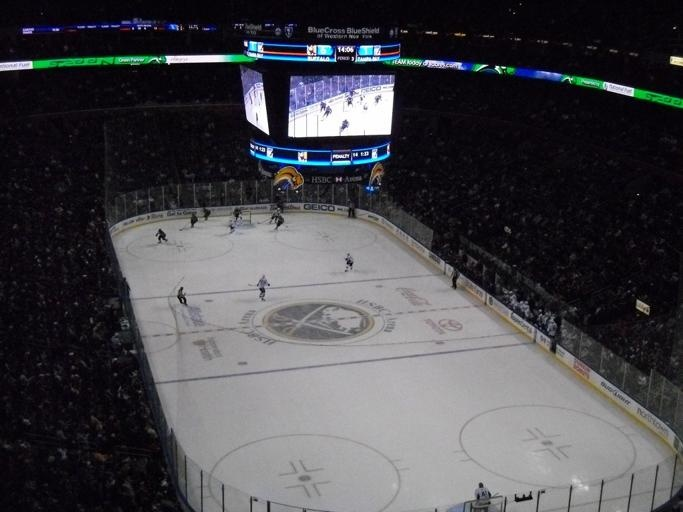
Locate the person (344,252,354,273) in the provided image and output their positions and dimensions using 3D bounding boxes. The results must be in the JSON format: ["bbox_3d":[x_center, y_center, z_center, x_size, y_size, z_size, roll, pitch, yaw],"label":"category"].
[{"bbox_3d":[0.554,0.277,37.609,0.489,1.125,1.141,1,31,0],"label":"person"}]

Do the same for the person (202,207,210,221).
[{"bbox_3d":[-9.883,-3.241,46.252,0.518,0.918,1.304,-5,32,-10],"label":"person"}]

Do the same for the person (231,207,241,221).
[{"bbox_3d":[-7.377,-3.051,44.650,0.661,0.846,1.342,-1,12,-8],"label":"person"}]

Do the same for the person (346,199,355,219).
[{"bbox_3d":[0.855,-3.607,47.155,0.551,1.076,0.834,0,31,-2],"label":"person"}]

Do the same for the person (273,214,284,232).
[{"bbox_3d":[-4.367,-2.479,44.573,0.538,1.115,1.252,-2,31,-5],"label":"person"}]
